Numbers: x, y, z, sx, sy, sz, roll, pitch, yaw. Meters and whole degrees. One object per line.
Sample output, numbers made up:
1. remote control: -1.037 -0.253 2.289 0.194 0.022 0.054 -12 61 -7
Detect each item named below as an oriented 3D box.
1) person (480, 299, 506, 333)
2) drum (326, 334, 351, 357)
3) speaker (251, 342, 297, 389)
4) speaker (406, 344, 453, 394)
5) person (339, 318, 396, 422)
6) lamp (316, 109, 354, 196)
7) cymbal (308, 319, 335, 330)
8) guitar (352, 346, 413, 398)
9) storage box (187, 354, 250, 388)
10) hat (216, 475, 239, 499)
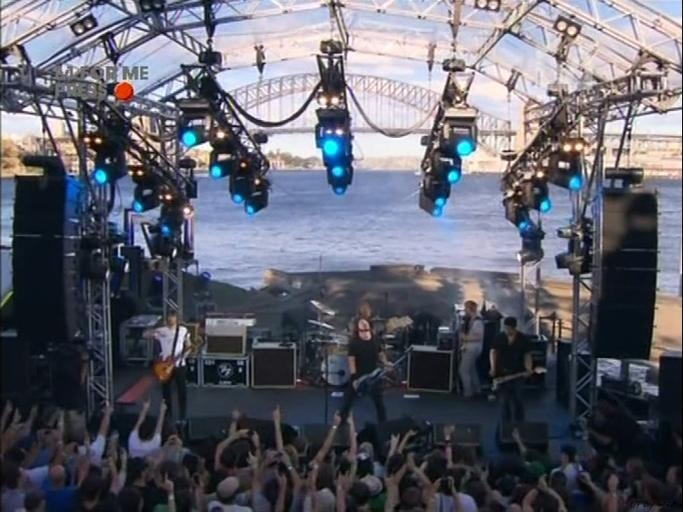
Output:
1. person: 3.155 1.278 16.122 0.299 0.737 0.235 -18 8 13
2. drum: -0.068 1.957 17.130 0.431 0.307 0.466 1 5 0
3. speaker: -1.417 2.290 16.466 0.934 0.962 0.348 2 -1 -7
4. speaker: 1.804 2.462 15.941 0.870 0.888 0.678 4 -32 7
5. person: 0.393 2.123 14.012 0.889 2.078 0.840 2 18 5
6. lamp: -0.125 -1.855 13.926 0.628 1.369 1.657 1 -1 1
7. cymbal: -0.393 1.473 16.726 0.357 0.079 0.426 4 -10 35
8. guitar: 0.752 2.215 14.876 1.417 0.417 0.555 -32 56 -26
9. storage box: -2.531 2.448 16.328 0.983 0.537 0.747 -1 1 5
10. hat: -1.435 2.914 9.959 0.270 0.248 0.217 2 -1 -8
